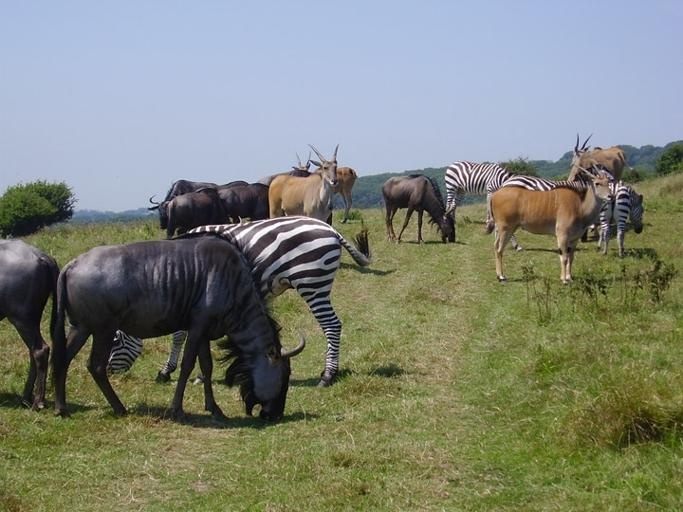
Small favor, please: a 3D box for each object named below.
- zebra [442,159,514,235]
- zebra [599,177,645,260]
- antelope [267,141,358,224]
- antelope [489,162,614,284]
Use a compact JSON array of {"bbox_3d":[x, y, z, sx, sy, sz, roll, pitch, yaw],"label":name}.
[{"bbox_3d":[4.742,-2.191,29.456,2.961,2.402,0.770,12,21,34],"label":"zebra"},{"bbox_3d":[7.354,-0.870,23.017,0.736,1.966,2.735,5,-1,29],"label":"zebra"},{"bbox_3d":[-0.839,-1.765,22.070,0.906,1.791,2.421,-10,17,-35],"label":"antelope"},{"bbox_3d":[4.720,-0.711,19.777,2.765,2.738,0.901,2,4,24],"label":"antelope"}]
